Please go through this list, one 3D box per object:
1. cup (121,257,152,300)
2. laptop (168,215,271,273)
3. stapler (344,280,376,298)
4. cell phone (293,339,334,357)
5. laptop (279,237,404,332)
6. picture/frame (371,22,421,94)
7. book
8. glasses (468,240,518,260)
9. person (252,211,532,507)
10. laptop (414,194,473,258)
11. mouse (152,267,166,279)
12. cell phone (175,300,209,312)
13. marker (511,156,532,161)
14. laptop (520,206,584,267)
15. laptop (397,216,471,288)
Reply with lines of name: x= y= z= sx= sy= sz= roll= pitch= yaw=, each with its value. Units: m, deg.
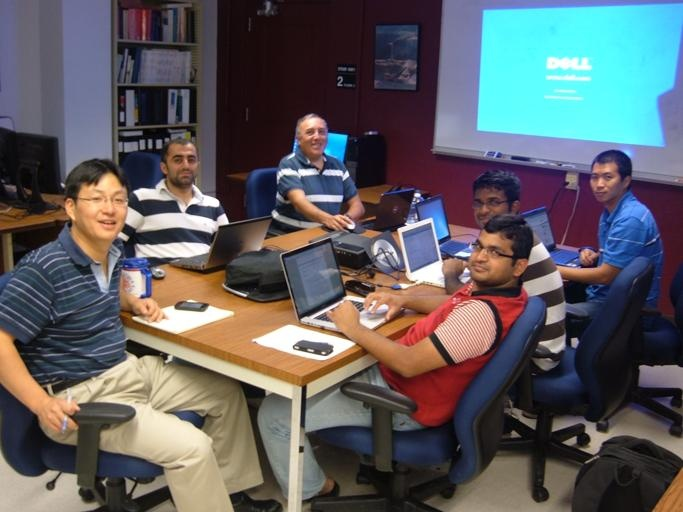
cup: x=-0.927 y=0.102 z=2.502 sx=0.171 sy=0.175 sz=0.122 roll=16 pitch=18 yaw=38
laptop: x=-0.625 y=-0.126 z=2.952 sx=0.352 sy=0.243 sz=0.400 roll=16 pitch=23 yaw=31
stapler: x=0.090 y=0.161 z=2.805 sx=0.106 sy=0.032 sz=0.089 roll=19 pitch=24 yaw=38
cell phone: x=-0.112 y=0.361 z=2.198 sx=0.108 sy=0.022 sz=0.067 roll=8 pitch=17 yaw=22
laptop: x=-0.012 y=0.141 z=2.476 sx=0.438 sy=0.319 sz=0.419 roll=20 pitch=27 yaw=30
picture/frame: x=0.590 y=-2.088 z=5.756 sx=0.665 sy=0.903 sz=0.064 roll=11 pitch=18 yaw=34
book: x=-2.213 y=-2.516 z=6.511 sx=0.307 sy=1.004 sz=1.020 roll=13 pitch=18 yaw=40
glasses: x=0.630 y=-0.013 z=2.233 sx=0.125 sy=0.038 sz=0.119 roll=13 pitch=8 yaw=-28
person: x=0.300 y=0.204 z=3.087 sx=1.293 sy=1.942 sz=1.018 roll=15 pitch=12 yaw=18
laptop: x=0.657 y=-0.200 z=3.666 sx=0.392 sy=0.359 sz=0.485 roll=15 pitch=23 yaw=24
mouse: x=-0.955 y=0.089 z=2.867 sx=0.042 sy=0.020 sz=0.084 roll=-5 pitch=19 yaw=-23
cell phone: x=-0.681 y=0.226 z=2.491 sx=0.109 sy=0.023 sz=0.060 roll=2 pitch=18 yaw=-4
marker: x=1.712 y=-0.928 z=5.266 sx=0.049 sy=0.058 sz=0.239 roll=-22 pitch=21 yaw=-34
laptop: x=1.474 y=-0.138 z=3.782 sx=0.350 sy=0.298 sz=0.421 roll=15 pitch=24 yaw=37
laptop: x=0.486 y=-0.015 z=3.127 sx=0.364 sy=0.306 sz=0.433 roll=13 pitch=20 yaw=27
